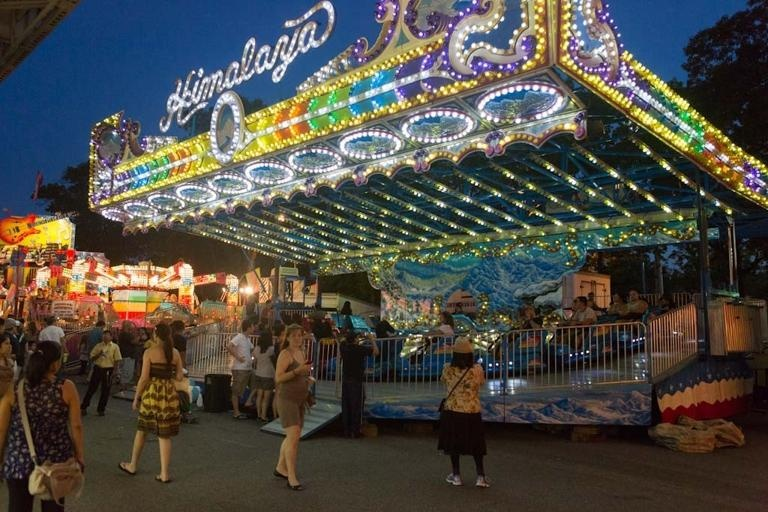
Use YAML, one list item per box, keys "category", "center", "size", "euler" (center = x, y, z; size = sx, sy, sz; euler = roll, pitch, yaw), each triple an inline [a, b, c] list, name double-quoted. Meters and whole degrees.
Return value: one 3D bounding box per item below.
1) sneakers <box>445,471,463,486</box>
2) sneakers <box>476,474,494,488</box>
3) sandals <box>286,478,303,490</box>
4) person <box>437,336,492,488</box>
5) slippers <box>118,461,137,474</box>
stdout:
- category: "sneakers"
  center: [1.107, 3.574, 9.688]
  size: [0.131, 0.119, 0.280]
  euler: [2, -2, -14]
- category: "sneakers"
  center: [1.563, 3.526, 9.501]
  size: [0.237, 0.214, 0.212]
  euler: [2, 4, 9]
- category: "sandals"
  center: [-1.387, 3.502, 9.284]
  size: [0.210, 0.128, 0.337]
  euler: [0, 4, -17]
- category: "person"
  center: [1.275, 2.480, 9.601]
  size: [0.763, 2.341, 0.498]
  euler: [2, 4, 4]
- category: "slippers"
  center: [-4.141, 3.410, 9.660]
  size: [0.305, 0.091, 0.151]
  euler: [25, 6, 32]
